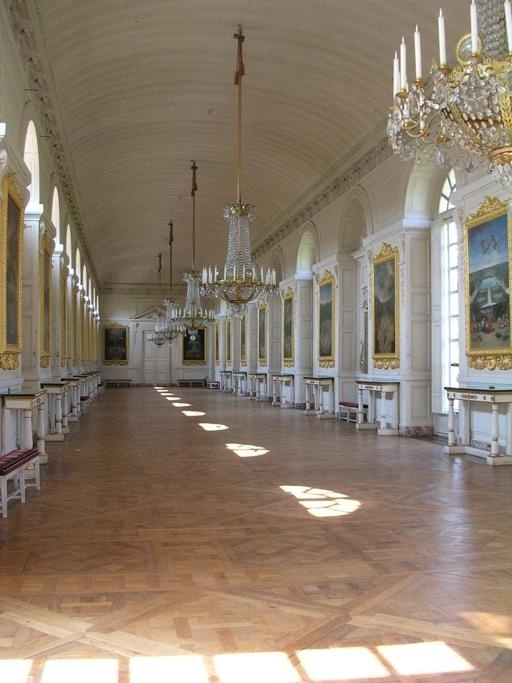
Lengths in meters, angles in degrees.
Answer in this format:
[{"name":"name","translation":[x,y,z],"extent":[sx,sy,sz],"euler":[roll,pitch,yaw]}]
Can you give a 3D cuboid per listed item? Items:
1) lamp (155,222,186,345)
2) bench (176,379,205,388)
[{"name":"lamp","translation":[-3.926,-2.944,23.472],"extent":[1.210,4.914,1.270],"euler":[5,12,17]},{"name":"bench","translation":[-4.757,3.038,37.743],"extent":[2.140,0.502,1.327],"euler":[1,-5,-14]}]
